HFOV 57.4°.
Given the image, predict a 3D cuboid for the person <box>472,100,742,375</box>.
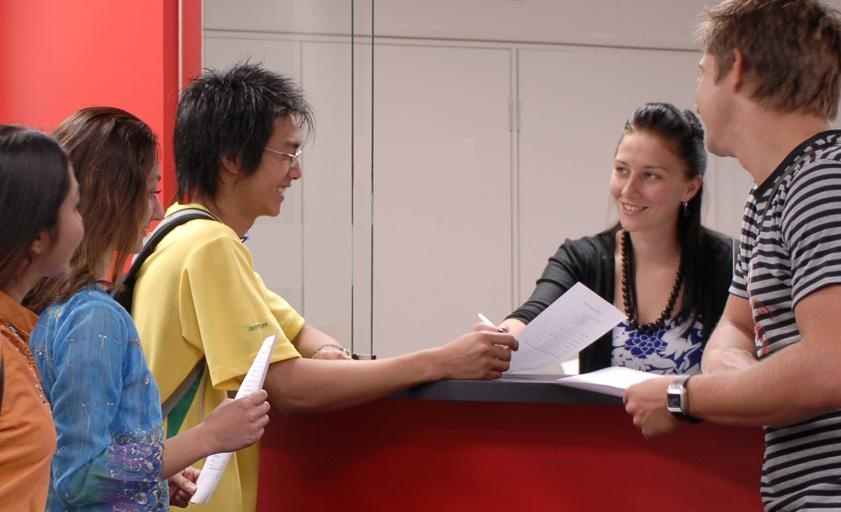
[{"bbox_3d":[0.751,0.053,2.686,0.795,1.115,0.829,4,17,39],"label":"person"}]
